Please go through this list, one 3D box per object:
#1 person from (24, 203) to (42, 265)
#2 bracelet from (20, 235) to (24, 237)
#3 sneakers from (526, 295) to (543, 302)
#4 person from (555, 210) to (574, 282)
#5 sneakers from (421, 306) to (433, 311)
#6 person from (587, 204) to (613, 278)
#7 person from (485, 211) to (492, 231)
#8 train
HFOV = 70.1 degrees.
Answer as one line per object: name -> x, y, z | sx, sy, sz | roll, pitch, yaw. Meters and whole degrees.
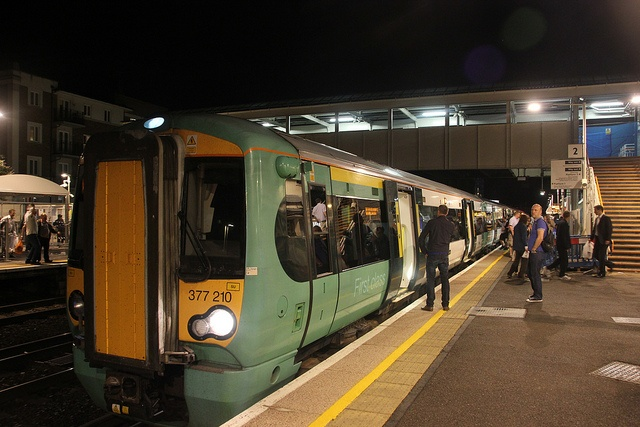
person -> -9.696, 0.707, 15.378 | 0.473, 1.974, 0.652 | -4, 6, -33
bracelet -> -10.497, 0.788, 16.104 | 0.090, 0.094, 0.022 | 2, -21, 17
sneakers -> 5.167, 2.037, 11.020 | 0.358, 0.161, 0.161 | 2, -1, -12
person -> 7.903, 1.007, 14.809 | 0.463, 2.162, 1.073 | 3, 6, 29
sneakers -> 2.361, 2.081, 10.106 | 0.089, 0.091, 0.217 | 2, 0, -43
person -> 9.273, 0.916, 15.072 | 0.539, 2.315, 1.008 | 2, 6, 24
person -> 8.881, 0.396, 24.164 | 0.160, 1.067, 0.257 | -8, 9, 23
train -> -0.782, 0.662, 7.661 | 2.191, 4.368, 5.628 | 5, 7, 42
